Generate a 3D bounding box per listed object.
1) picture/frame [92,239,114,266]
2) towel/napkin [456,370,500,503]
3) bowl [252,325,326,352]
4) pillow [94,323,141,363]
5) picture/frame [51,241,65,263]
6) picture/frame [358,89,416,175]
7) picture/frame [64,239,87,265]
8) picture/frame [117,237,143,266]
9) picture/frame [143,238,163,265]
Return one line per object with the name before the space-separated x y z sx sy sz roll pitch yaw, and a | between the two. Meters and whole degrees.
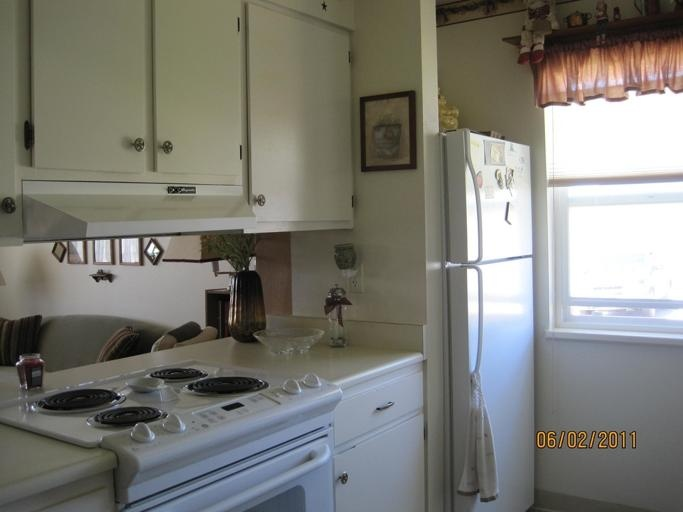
picture/frame | -2.345 -0.035 5.271 0.235 0.275 0.018 1 1 36
towel/napkin | 0.646 0.869 2.489 0.185 0.614 0.157 -4 7 -45
bowl | -0.238 0.390 2.555 0.305 0.110 0.370 1 5 1
pillow | -1.775 0.704 4.252 0.286 0.230 0.467 -4 7 -42
picture/frame | -2.929 -0.038 5.528 0.196 0.214 0.027 -3 -5 30
picture/frame | 0.231 -0.605 2.569 0.402 0.528 0.018 -1 0 29
picture/frame | -2.639 -0.037 5.316 0.222 0.241 0.023 -1 -2 41
picture/frame | -1.910 -0.043 4.852 0.228 0.282 0.029 -2 -3 28
picture/frame | -1.722 -0.046 4.899 0.215 0.226 0.031 3 2 35
